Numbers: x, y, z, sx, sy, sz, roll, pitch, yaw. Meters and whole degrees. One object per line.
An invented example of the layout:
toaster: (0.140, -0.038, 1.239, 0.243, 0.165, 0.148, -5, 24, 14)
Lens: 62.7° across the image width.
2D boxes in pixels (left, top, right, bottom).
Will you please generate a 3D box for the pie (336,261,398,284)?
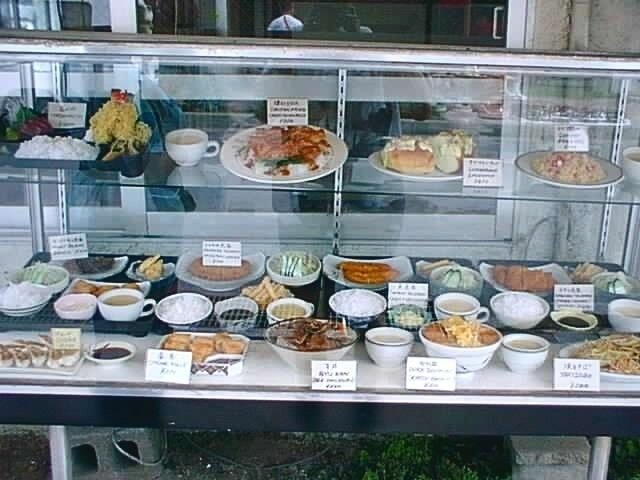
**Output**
pie: (0.202, 0.140, 2.226, 0.196, 0.047, 0.100, 6, 41, 0)

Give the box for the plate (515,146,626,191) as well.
plate: (0.968, -0.270, 2.034, 0.248, 0.058, 0.232, -8, 31, -18)

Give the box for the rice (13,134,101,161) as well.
rice: (-1.022, -0.354, 2.031, 0.199, 0.054, 0.139, 2, 15, -8)

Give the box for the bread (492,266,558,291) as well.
bread: (0.849, 0.169, 2.194, 0.192, 0.036, 0.110, 4, 37, 8)

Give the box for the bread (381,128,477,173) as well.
bread: (0.420, -0.331, 2.028, 0.264, 0.093, 0.184, -8, 23, -13)

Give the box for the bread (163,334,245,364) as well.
bread: (-0.428, 0.394, 1.949, 0.211, 0.031, 0.127, 4, 20, 0)

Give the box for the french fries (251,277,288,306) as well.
french fries: (-0.218, 0.223, 2.199, 0.119, 0.038, 0.116, 37, 61, 18)

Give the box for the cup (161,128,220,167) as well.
cup: (-0.522, -0.374, 2.122, 0.195, 0.091, 0.140, 8, 31, 4)

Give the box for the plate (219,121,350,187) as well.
plate: (-0.139, -0.331, 2.046, 0.347, 0.035, 0.326, 3, 34, 3)
